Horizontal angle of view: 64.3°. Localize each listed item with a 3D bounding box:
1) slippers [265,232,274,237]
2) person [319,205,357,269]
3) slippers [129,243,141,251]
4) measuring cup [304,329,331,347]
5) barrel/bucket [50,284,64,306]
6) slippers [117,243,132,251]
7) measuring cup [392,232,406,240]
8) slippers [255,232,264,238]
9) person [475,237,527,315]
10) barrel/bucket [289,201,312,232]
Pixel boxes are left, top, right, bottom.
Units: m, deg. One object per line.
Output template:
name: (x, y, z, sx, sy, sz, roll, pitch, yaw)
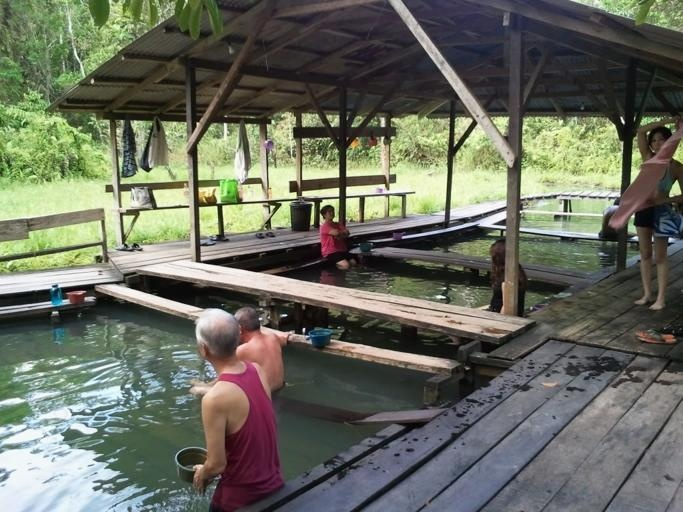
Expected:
slippers: (-1.606, -0.507, 12.143, 0.139, 0.124, 0.160, 4, -7, -29)
person: (0.000, -0.429, 10.975, 0.828, 1.212, 0.737, -8, 12, -44)
slippers: (-4.090, -0.194, 10.760, 0.174, 0.078, 0.221, -3, 7, -38)
measuring cup: (-0.232, 0.930, 6.046, 0.203, 0.193, 0.216, -3, 8, 0)
barrel/bucket: (-4.226, 0.572, 8.029, 0.150, 0.280, 0.365, -8, 9, -27)
slippers: (-4.312, -0.188, 10.759, 0.183, 0.088, 0.300, 0, 6, -42)
measuring cup: (1.236, -0.471, 12.275, 0.248, 0.095, 0.214, 0, 3, -3)
slippers: (-1.825, -0.473, 12.024, 0.155, 0.052, 0.173, 2, 12, -6)
person: (2.030, 0.254, 6.750, 0.459, 0.999, 0.895, -1, 8, 15)
barrel/bucket: (-0.986, -0.975, 12.987, 0.815, 0.695, 0.693, -1, 0, 1)
